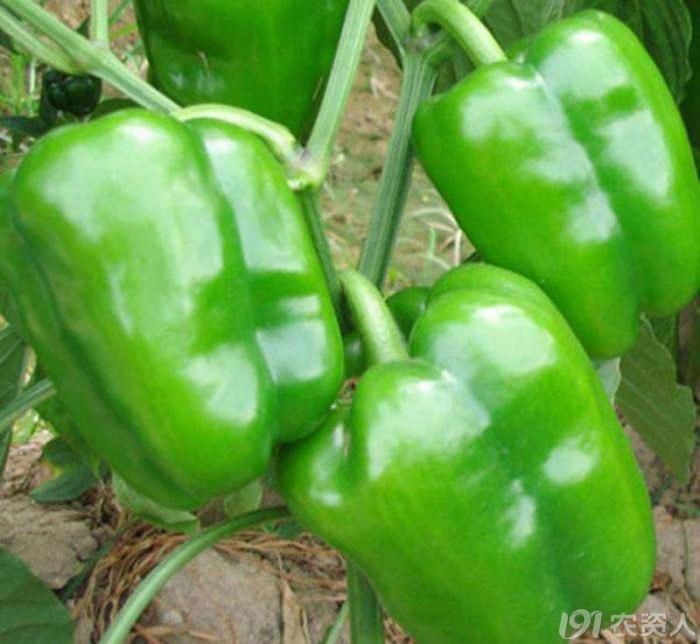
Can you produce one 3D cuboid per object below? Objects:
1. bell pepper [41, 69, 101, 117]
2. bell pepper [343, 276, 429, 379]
[{"bbox_3d":[-0.359,-0.296,1.101,0.076,0.051,0.101,-18,31,-27],"label":"bell pepper"},{"bbox_3d":[0.033,0.009,0.839,0.034,0.089,0.047,-51,41,-7],"label":"bell pepper"}]
